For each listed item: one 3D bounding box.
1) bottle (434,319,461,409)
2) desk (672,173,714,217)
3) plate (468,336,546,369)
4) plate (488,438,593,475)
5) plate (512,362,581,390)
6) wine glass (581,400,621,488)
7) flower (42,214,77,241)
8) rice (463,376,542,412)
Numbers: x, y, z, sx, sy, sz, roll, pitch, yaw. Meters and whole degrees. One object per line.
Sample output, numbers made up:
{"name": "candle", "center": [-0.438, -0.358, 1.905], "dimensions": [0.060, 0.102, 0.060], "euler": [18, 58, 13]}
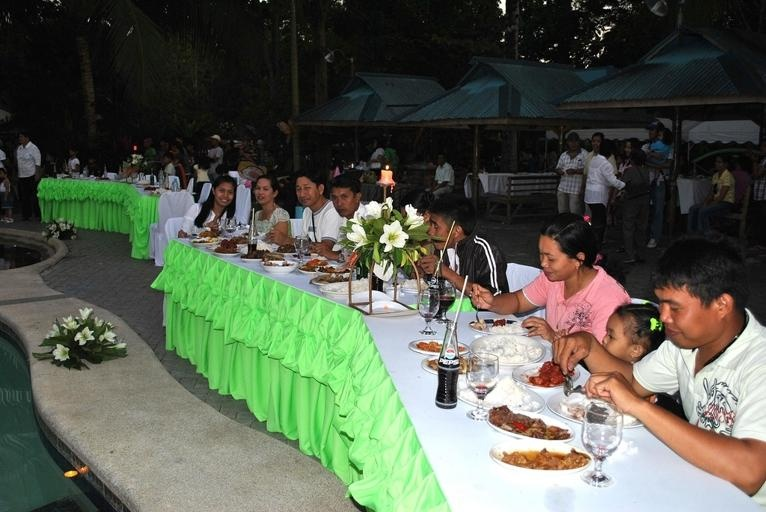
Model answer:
{"name": "bottle", "center": [0.333, 0.537, 2.700], "dimensions": [0.114, 0.441, 0.110], "euler": [1, -2, 0]}
{"name": "desk", "center": [7.446, -1.533, 12.714], "dimensions": [1.160, 0.622, 1.126], "euler": [-17, 26, -32]}
{"name": "plate", "center": [0.759, 0.535, 3.264], "dimensions": [0.375, 0.165, 0.395], "euler": [-1, 6, -15]}
{"name": "plate", "center": [0.673, 0.848, 2.262], "dimensions": [0.428, 0.070, 0.193], "euler": [6, 8, -1]}
{"name": "plate", "center": [0.915, 0.644, 2.994], "dimensions": [0.364, 0.127, 0.336], "euler": [-3, -6, -31]}
{"name": "wine glass", "center": [0.902, 0.769, 2.212], "dimensions": [0.144, 0.294, 0.203], "euler": [9, 9, 25]}
{"name": "flower", "center": [-7.522, -0.622, 12.430], "dimensions": [0.610, 0.480, 0.639], "euler": [-1, 11, -39]}
{"name": "rice", "center": [0.608, 0.718, 2.812], "dimensions": [0.322, 0.143, 0.314], "euler": [-4, -7, 5]}
